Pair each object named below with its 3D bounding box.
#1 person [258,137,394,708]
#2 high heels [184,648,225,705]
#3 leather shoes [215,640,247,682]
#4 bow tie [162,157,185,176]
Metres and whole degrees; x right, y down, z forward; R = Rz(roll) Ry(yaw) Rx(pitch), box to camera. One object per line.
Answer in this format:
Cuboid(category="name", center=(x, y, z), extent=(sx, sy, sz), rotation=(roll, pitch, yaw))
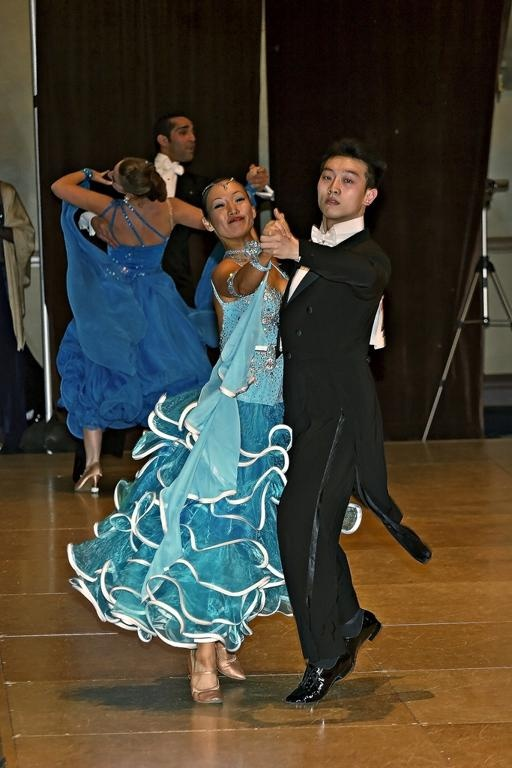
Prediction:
Cuboid(category="person", center=(0.159, 0.098, 1.505), extent=(0.234, 1.227, 0.423), rotation=(1, 7, 9))
Cuboid(category="high heels", center=(-0.110, 0.636, 1.558), extent=(0.050, 0.062, 0.155), rotation=(-1, 10, -7))
Cuboid(category="leather shoes", center=(-0.077, 0.665, 1.742), extent=(0.045, 0.119, 0.032), rotation=(-8, -35, -49))
Cuboid(category="bow tie", center=(-0.534, -1.373, 4.521), extent=(0.109, 0.040, 0.106), rotation=(31, 14, 3))
